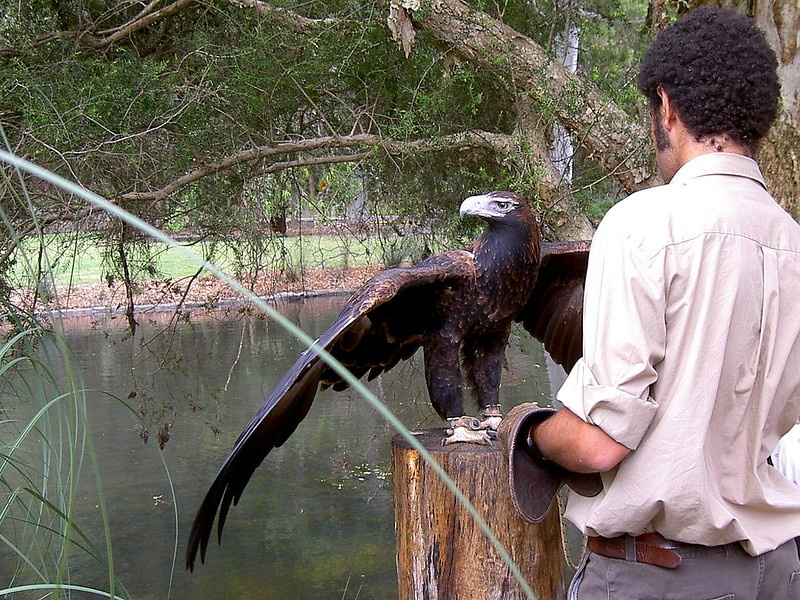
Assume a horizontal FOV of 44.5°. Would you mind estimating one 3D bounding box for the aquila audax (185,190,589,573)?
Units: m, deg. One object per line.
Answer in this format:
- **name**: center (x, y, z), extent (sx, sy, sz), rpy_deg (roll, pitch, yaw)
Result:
- **aquila audax**: center (0.217, 0.199, 4.803), extent (3.018, 1.311, 1.471), rpy_deg (-10, 4, -35)
